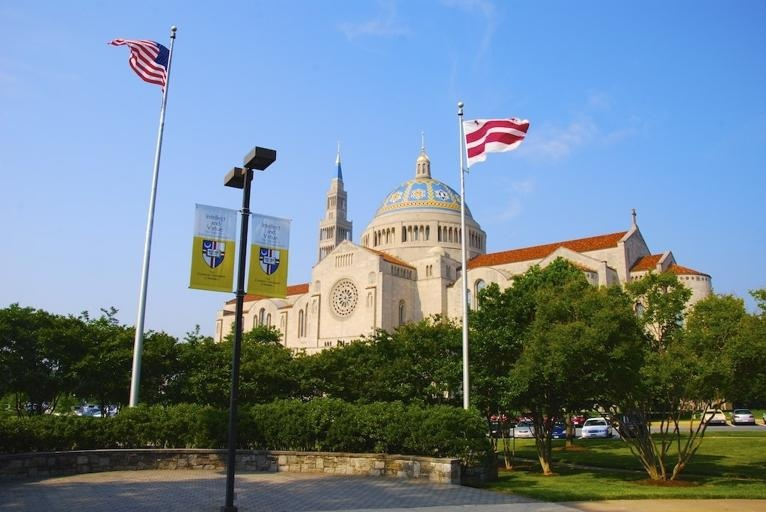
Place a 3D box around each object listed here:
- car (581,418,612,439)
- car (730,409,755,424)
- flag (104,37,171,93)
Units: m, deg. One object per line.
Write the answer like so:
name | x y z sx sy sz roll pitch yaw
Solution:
car | 16.773 13.571 60.776 1.464 1.190 3.616 -7 -22 13
car | 31.402 14.125 67.664 1.055 0.820 2.419 -1 1 14
flag | -13.313 -10.638 43.020 1.595 2.843 2.274 -9 -18 26
